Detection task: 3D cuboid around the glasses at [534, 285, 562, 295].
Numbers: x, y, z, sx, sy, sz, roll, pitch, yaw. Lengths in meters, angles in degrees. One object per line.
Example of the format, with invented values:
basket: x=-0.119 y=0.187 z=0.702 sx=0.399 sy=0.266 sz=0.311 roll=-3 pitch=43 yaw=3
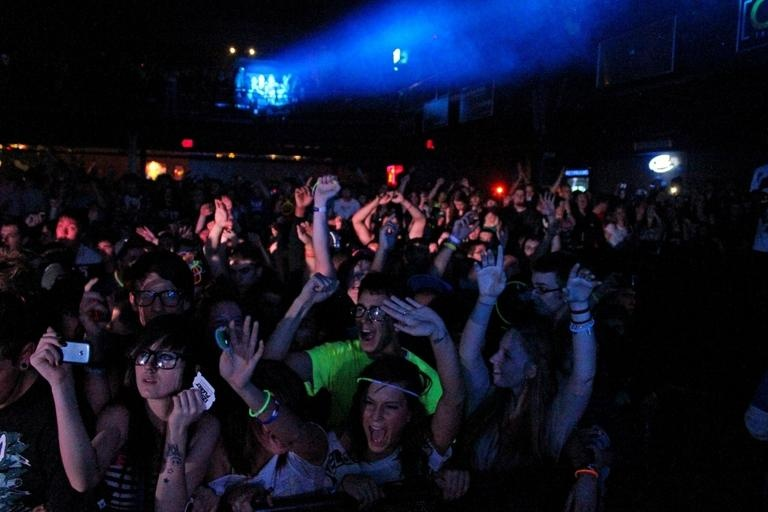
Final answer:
glasses: x=1.640 y=0.341 z=6.305 sx=0.279 sy=0.072 sz=0.044 roll=2 pitch=7 yaw=17
